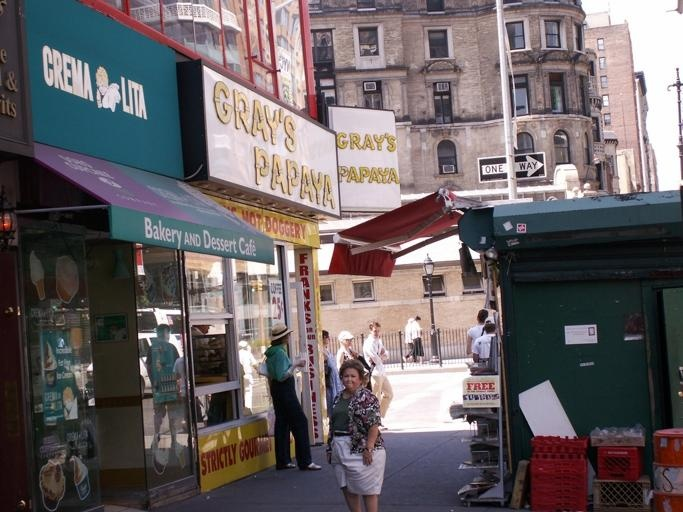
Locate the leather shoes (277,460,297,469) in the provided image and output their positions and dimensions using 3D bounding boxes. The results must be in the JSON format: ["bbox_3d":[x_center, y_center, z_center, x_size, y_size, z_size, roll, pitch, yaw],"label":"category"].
[{"bbox_3d":[-0.850,3.236,13.491,0.319,0.148,0.113,-5,2,-10],"label":"leather shoes"}]

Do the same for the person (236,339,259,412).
[{"bbox_3d":[-1.453,1.833,13.560,0.175,1.163,0.624,1,-2,9],"label":"person"}]

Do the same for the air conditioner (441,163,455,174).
[{"bbox_3d":[6.273,-4.998,51.545,0.824,0.642,0.467,0,-5,3],"label":"air conditioner"}]

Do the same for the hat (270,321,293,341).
[{"bbox_3d":[-0.990,1.177,13.354,0.269,0.120,0.295,-32,9,-33],"label":"hat"}]

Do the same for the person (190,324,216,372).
[{"bbox_3d":[-1.990,1.314,12.418,0.359,0.747,0.662,-3,2,-3],"label":"person"}]

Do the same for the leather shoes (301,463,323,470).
[{"bbox_3d":[-0.447,3.185,13.207,0.301,0.135,0.115,-5,-6,9],"label":"leather shoes"}]

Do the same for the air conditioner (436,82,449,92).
[{"bbox_3d":[5.953,-9.955,51.636,0.817,0.580,0.200,1,-2,10],"label":"air conditioner"}]

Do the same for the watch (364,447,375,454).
[{"bbox_3d":[0.291,2.048,9.242,0.108,0.056,0.064,2,-2,-12],"label":"watch"}]

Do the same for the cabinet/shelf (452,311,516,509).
[{"bbox_3d":[1.942,2.156,11.866,0.987,3.404,2.577,0,-5,8],"label":"cabinet/shelf"}]

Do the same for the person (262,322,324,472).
[{"bbox_3d":[-0.803,2.149,13.342,0.812,2.239,0.636,0,-2,25],"label":"person"}]
